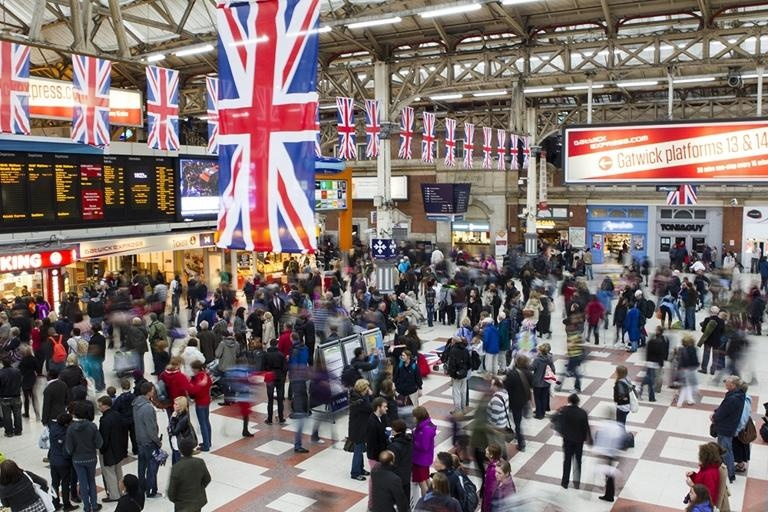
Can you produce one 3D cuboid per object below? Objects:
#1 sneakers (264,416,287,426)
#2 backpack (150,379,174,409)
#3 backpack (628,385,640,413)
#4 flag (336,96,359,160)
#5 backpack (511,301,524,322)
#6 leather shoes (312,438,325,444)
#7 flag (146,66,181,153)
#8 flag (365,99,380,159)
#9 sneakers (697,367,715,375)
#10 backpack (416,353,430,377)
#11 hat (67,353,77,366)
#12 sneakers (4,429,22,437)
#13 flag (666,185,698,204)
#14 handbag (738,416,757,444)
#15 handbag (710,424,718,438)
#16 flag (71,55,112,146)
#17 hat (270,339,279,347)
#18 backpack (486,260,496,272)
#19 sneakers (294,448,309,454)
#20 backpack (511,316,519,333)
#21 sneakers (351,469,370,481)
[{"bbox_3d":[-2.766,4.256,16.847,0.569,0.249,0.215,7,17,-1],"label":"sneakers"},{"bbox_3d":[-5.058,3.161,14.914,0.413,0.810,0.565,-12,20,-14],"label":"backpack"},{"bbox_3d":[5.917,3.328,15.427,0.167,0.737,0.656,1,3,27],"label":"backpack"},{"bbox_3d":[-1.497,-5.266,26.174,0.672,2.506,1.623,-1,2,-3],"label":"flag"},{"bbox_3d":[4.360,1.809,21.283,0.377,0.668,0.629,0,-1,36],"label":"backpack"},{"bbox_3d":[-1.600,4.542,16.029,0.262,0.115,0.099,0,10,-7],"label":"leather shoes"},{"bbox_3d":[-7.163,-4.816,21.212,0.950,2.483,1.195,-1,2,-22],"label":"flag"},{"bbox_3d":[-0.452,-5.164,26.237,0.430,2.355,0.893,0,2,23],"label":"flag"},{"bbox_3d":[9.736,3.461,19.652,0.542,0.238,0.180,7,10,22],"label":"sneakers"},{"bbox_3d":[0.957,2.696,16.260,0.335,0.632,0.197,5,-29,-17],"label":"backpack"},{"bbox_3d":[-7.345,2.435,15.302,0.220,0.249,0.252,1,-3,5],"label":"hat"},{"bbox_3d":[-9.267,4.396,16.283,0.338,0.150,0.167,0,4,12],"label":"sneakers"},{"bbox_3d":[12.750,-2.562,27.744,1.156,1.209,0.762,6,0,30],"label":"flag"},{"bbox_3d":[8.026,3.845,14.432,0.410,0.666,0.273,-2,3,-33],"label":"handbag"},{"bbox_3d":[7.268,3.834,14.322,0.137,0.354,0.249,0,3,23],"label":"handbag"},{"bbox_3d":[-8.622,-4.579,19.272,1.022,2.460,1.145,-2,3,-26],"label":"flag"},{"bbox_3d":[-3.026,2.396,18.087,0.208,0.278,0.277,3,16,-3],"label":"hat"},{"bbox_3d":[4.624,0.406,27.863,0.302,0.428,0.204,-12,-46,20],"label":"backpack"},{"bbox_3d":[-1.947,4.641,15.557,0.323,0.140,0.142,1,7,-3],"label":"sneakers"},{"bbox_3d":[4.245,2.208,21.051,0.138,0.492,0.359,3,-2,33],"label":"backpack"},{"bbox_3d":[-0.514,4.918,14.669,0.568,0.233,0.181,-5,30,-2],"label":"sneakers"}]
